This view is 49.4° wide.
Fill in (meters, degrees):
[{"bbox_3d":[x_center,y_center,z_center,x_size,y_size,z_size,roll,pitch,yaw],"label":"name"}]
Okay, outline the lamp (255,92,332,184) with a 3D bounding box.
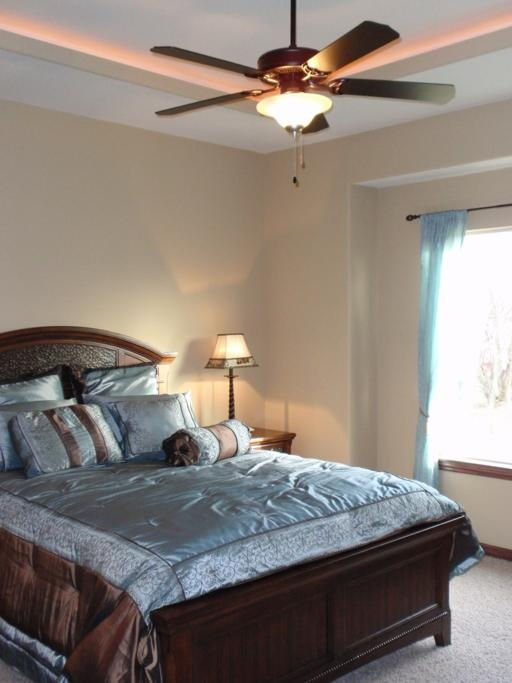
[{"bbox_3d":[0.145,-0.715,2.041,0.296,0.276,0.276,3,5,28],"label":"lamp"}]
